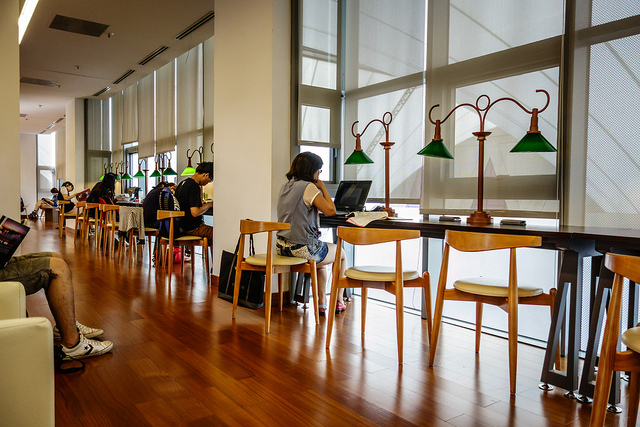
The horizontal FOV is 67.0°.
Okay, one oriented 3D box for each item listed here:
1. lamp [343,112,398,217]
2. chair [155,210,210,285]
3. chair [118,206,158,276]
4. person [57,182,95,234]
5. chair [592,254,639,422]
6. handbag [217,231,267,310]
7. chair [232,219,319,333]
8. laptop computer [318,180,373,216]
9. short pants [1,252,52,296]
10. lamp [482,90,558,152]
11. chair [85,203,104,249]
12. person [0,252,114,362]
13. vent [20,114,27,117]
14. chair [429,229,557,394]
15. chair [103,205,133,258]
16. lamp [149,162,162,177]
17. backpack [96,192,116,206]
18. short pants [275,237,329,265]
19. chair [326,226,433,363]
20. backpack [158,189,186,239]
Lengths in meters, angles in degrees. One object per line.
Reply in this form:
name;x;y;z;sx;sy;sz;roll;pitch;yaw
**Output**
lamp;0.483;-0.477;4.541;0.493;0.909;0.938;1;13;3
chair;-1.646;0.376;5.771;0.669;0.831;0.695;3;3;0
chair;-2.613;0.318;6.947;0.575;0.804;0.660;3;-3;3
person;-5.327;-0.031;10.185;0.516;0.747;0.538;-19;2;-17
chair;1.567;0.645;2.518;0.200;0.867;0.300;6;15;23
handbag;-0.727;0.566;4.602;0.153;0.797;0.561;2;12;-45
chair;-0.389;0.508;4.263;0.716;0.904;0.726;1;1;-13
laptop computer;0.248;-0.187;4.454;0.356;0.308;0.395;0;4;-44
short pants;-1.978;0.402;3.283;0.248;0.122;0.285;-8;39;-20
lamp;1.522;-0.640;3.590;0.536;0.432;0.346;0;-2;40
chair;-3.863;0.185;8.322;0.417;0.603;0.496;5;-4;-31
person;-1.985;0.534;3.674;0.694;0.789;0.797;-1;9;-29
vent;-8.237;-2.697;13.431;0.151;0.090;0.679;-7;16;-30
chair;1.244;0.635;3.438;0.885;1.033;0.902;2;2;1
chair;-3.228;0.248;7.657;0.520;0.705;0.582;6;1;-5
lamp;-2.637;-0.718;7.929;0.226;0.251;0.226;13;13;41
backpack;-3.639;-0.238;8.165;0.223;0.170;0.478;-8;16;-31
short pants;-0.154;0.331;4.238;0.278;0.123;0.286;11;-3;-16
chair;0.472;0.572;3.770;0.793;0.931;0.761;1;0;18
backpack;-1.778;0.012;5.843;0.311;0.623;0.445;12;10;-14
